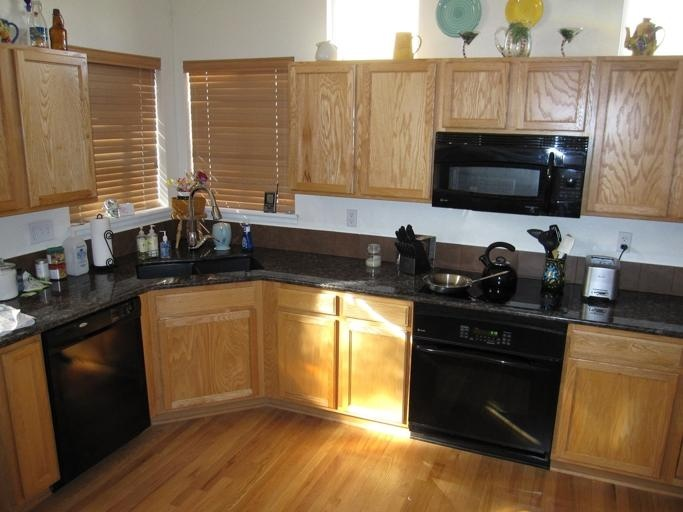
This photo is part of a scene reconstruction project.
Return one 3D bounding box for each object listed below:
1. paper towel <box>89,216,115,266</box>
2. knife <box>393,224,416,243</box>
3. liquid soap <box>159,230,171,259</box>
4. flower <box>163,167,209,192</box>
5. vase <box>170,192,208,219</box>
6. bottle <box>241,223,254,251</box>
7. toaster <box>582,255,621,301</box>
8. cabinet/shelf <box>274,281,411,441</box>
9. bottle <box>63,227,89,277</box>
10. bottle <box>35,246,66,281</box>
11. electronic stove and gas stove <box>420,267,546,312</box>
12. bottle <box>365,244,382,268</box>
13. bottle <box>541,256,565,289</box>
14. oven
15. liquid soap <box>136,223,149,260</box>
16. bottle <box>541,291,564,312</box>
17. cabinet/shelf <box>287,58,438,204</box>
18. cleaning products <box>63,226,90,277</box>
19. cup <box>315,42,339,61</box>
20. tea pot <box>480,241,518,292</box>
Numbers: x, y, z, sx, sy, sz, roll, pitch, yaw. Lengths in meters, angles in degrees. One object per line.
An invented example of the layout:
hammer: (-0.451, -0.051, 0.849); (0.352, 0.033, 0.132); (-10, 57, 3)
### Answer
paper towel: (-1.783, -0.109, 3.752); (0.160, 0.385, 0.142); (-4, 13, -18)
knife: (0.458, -0.170, 3.734); (0.127, 0.138, 0.040); (-5, 7, -8)
liquid soap: (-1.398, -0.098, 4.002); (0.081, 0.186, 0.247); (-5, 14, -20)
flower: (-1.265, -0.644, 4.138); (0.302, 0.195, 0.310); (-13, -17, -24)
vase: (-1.276, -0.424, 4.224); (0.242, 0.174, 0.193); (5, 10, 30)
bottle: (-0.802, -0.172, 4.289); (0.102, 0.231, 0.239); (-2, 13, -10)
toaster: (1.751, 0.143, 3.434); (0.216, 0.237, 0.311); (9, 21, 33)
cabinet/shelf: (0.035, 0.721, 3.613); (0.921, 0.879, 0.363); (5, 15, 18)
bottle: (-1.903, 0.000, 3.634); (0.148, 0.264, 0.131); (-7, 15, -30)
bottle: (-1.996, 0.062, 3.512); (0.224, 0.244, 0.132); (-9, 17, -44)
electronic stove and gas stove: (0.892, 0.199, 3.493); (0.531, 0.245, 0.307); (4, 17, 14)
bottle: (0.247, -0.001, 3.910); (0.109, 0.172, 0.089); (1, 13, 3)
bottle: (1.428, 0.115, 3.418); (0.145, 0.227, 0.140); (-2, 20, 1)
oven: (1.011, 0.904, 3.688); (1.054, 1.072, 0.726); (5, 12, 21)
liquid soap: (-1.560, -0.104, 3.965); (0.072, 0.244, 0.168); (-7, 14, -28)
bottle: (1.370, 0.297, 3.312); (0.128, 0.156, 0.133); (2, 17, 9)
cabinet/shelf: (0.179, -0.922, 3.624); (0.944, 0.887, 0.344); (4, 13, 15)
cleaning products: (-1.913, -0.023, 3.641); (0.144, 0.316, 0.138); (11, 17, 39)
cup: (-0.112, -1.487, 3.697); (0.163, 0.143, 0.162); (0, 13, 0)
tea pot: (1.084, 0.058, 3.623); (0.316, 0.447, 0.304); (-2, 7, 0)
